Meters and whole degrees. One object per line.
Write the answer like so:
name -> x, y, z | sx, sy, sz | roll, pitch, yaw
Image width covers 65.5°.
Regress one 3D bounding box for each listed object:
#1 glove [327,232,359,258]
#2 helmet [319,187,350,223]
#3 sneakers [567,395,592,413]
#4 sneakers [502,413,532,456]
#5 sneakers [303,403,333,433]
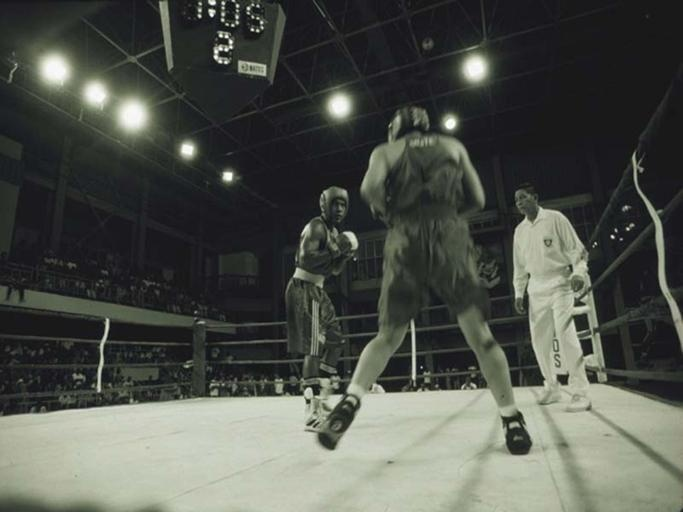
glove -> 0.041, -0.112, 4.598 | 0.176, 0.124, 0.247 | -9, 4, 25
helmet -> -0.045, -0.450, 4.788 | 0.228, 0.326, 0.308 | 4, -11, -25
sneakers -> 1.853, 1.159, 4.167 | 0.111, 0.124, 0.182 | 13, -17, -35
sneakers -> 1.060, 1.049, 3.160 | 0.175, 0.244, 0.087 | 1, -15, -14
sneakers -> -0.189, 1.230, 4.138 | 0.132, 0.196, 0.427 | 1, -3, 12
